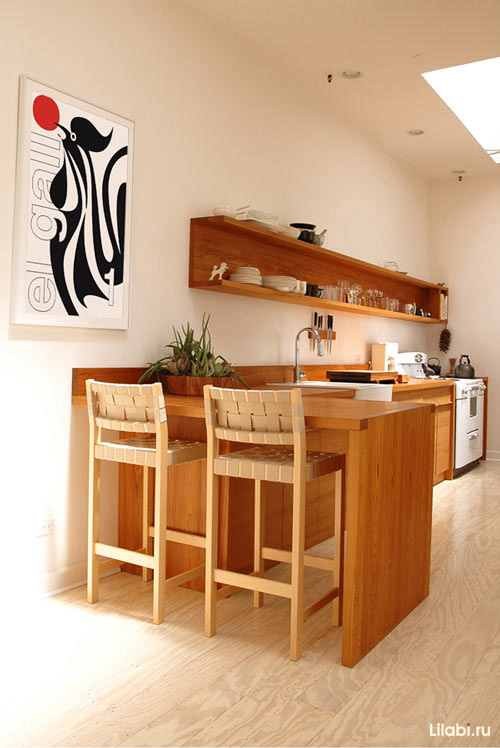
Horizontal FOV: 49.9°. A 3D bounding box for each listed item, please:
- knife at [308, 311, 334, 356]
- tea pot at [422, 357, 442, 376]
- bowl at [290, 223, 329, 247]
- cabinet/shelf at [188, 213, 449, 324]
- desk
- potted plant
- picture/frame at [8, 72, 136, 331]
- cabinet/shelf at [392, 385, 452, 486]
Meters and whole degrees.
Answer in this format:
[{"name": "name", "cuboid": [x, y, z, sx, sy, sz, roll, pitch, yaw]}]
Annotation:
[{"name": "knife", "cuboid": [0.532, -0.321, 4.122, 0.046, 0.348, 0.347, 4, 5, 30]}, {"name": "tea pot", "cuboid": [1.987, -0.080, 5.901, 0.159, 0.237, 0.122, 10, 15, 42]}, {"name": "bowl", "cuboid": [0.398, -0.964, 3.684, 0.171, 0.120, 0.261, -4, -3, 43]}, {"name": "cabinet/shelf", "cuboid": [0.749, -0.681, 4.076, 2.836, 0.436, 0.359, 2, 7, -44]}, {"name": "desk", "cuboid": [0.129, 0.479, 2.233, 0.588, 0.802, 1.093, -5, 8, -44]}, {"name": "potted plant", "cuboid": [-0.272, -0.074, 2.645, 0.385, 0.296, 0.397, 0, 4, -1]}, {"name": "picture/frame", "cuboid": [-0.700, -0.665, 2.190, 0.077, 1.010, 0.633, -1, -6, 27]}, {"name": "cabinet/shelf", "cuboid": [1.332, 0.560, 4.346, 0.307, 0.605, 0.582, -4, 0, 24]}]
